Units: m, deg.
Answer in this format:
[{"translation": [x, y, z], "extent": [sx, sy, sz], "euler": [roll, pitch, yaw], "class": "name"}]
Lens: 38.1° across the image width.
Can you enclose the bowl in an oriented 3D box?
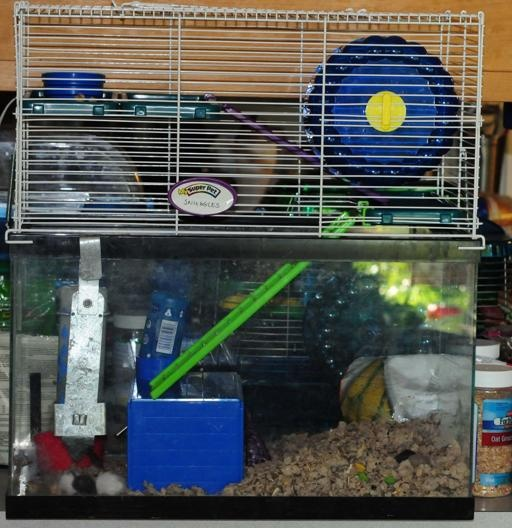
[{"translation": [0.297, 0.177, 1.191], "extent": [0.125, 0.108, 0.119], "euler": [-1, 3, 0], "class": "bowl"}]
